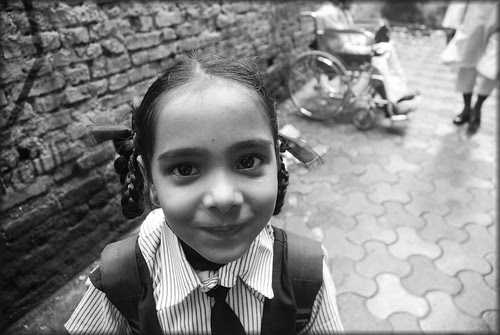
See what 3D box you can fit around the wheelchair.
[{"bbox_3d":[1.470,-1.422,5.832,1.460,1.406,1.869,-24,36,-33],"label":"wheelchair"}]
